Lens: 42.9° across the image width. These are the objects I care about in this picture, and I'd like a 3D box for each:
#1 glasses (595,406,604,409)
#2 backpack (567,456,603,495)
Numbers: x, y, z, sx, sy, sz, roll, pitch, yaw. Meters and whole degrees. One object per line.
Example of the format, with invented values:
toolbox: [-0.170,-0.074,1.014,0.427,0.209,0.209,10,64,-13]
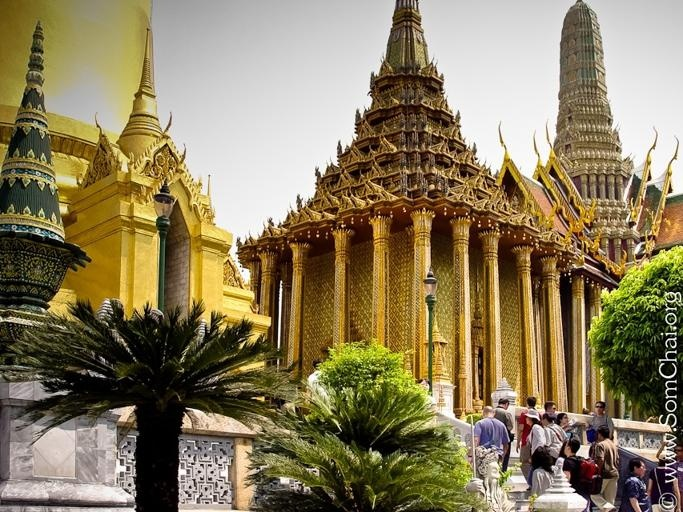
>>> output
glasses: [4.083,2.360,13.744,0.061,0.036,0.083,-1,-3,4]
backpack: [3.187,2.868,11.474,0.538,0.542,0.388,-2,-5,24]
